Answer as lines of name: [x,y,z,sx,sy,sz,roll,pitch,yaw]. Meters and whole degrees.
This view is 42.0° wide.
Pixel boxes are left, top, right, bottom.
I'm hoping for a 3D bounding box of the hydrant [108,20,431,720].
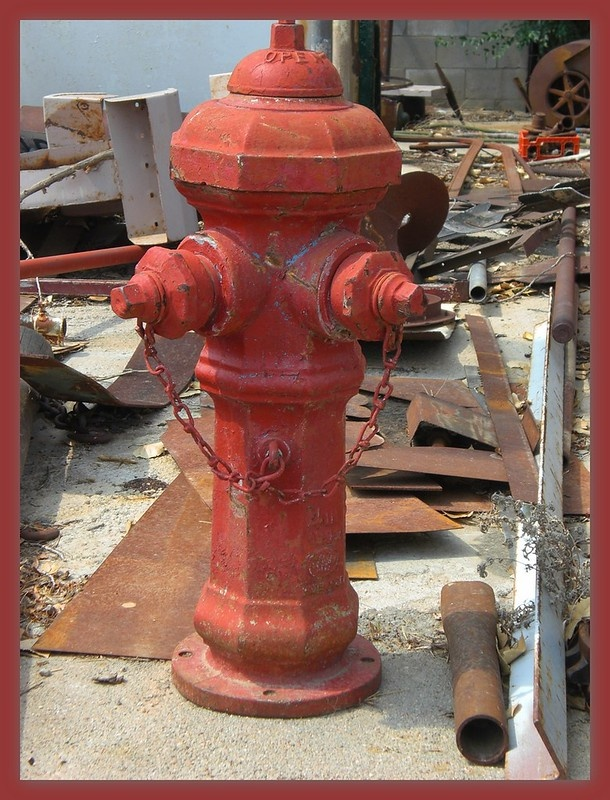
hydrant: [-0.090,-0.016,2.217,0.840,1.941,0.498,-2,19,7]
